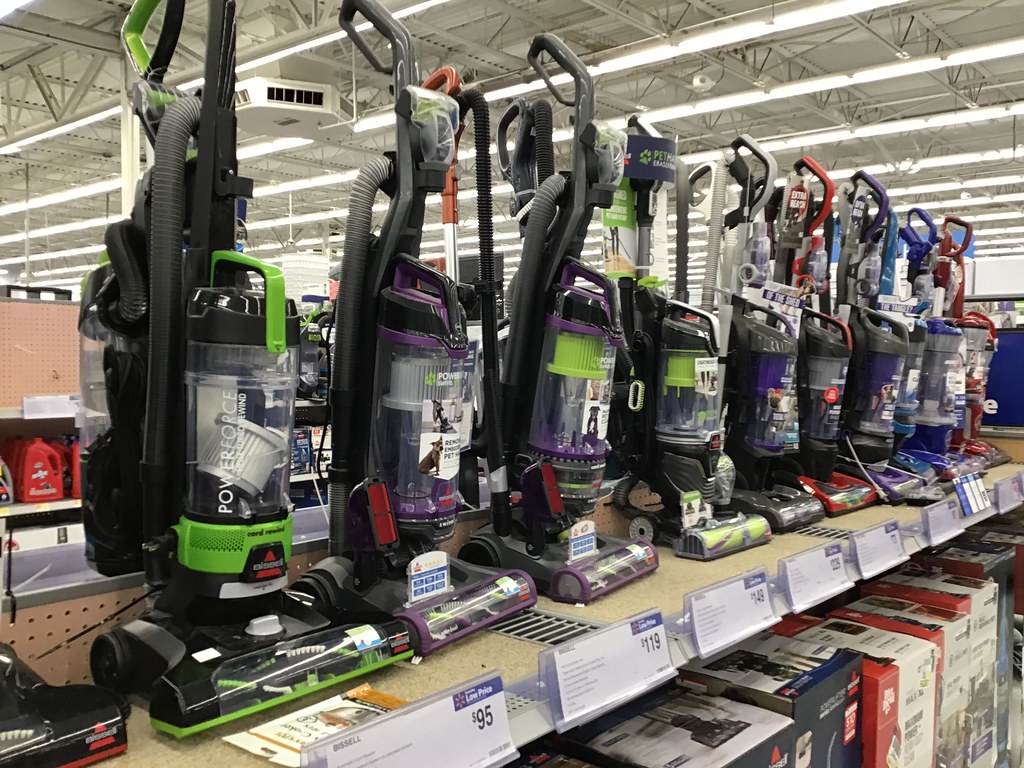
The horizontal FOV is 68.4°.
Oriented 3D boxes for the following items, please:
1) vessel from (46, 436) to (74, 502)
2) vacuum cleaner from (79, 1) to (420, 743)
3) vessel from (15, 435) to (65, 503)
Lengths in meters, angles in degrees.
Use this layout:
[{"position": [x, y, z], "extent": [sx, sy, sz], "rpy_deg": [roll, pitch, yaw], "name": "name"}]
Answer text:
[{"position": [-3.173, 0.584, 5.290], "extent": [0.207, 0.399, 0.112], "rpy_deg": [-8, -5, 23], "name": "vessel"}, {"position": [-0.602, -0.142, 1.740], "extent": [0.728, 1.553, 0.688], "rpy_deg": [-4, 6, -32], "name": "vacuum cleaner"}, {"position": [-3.203, 0.590, 5.121], "extent": [0.398, 0.562, 0.202], "rpy_deg": [1, -7, -36], "name": "vessel"}]
